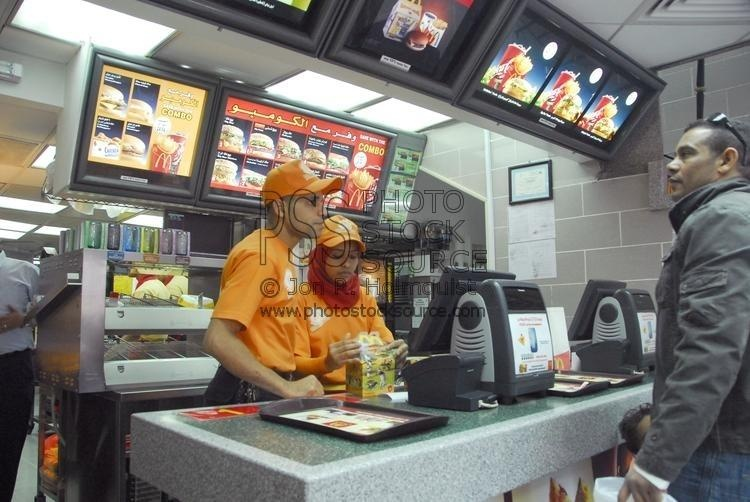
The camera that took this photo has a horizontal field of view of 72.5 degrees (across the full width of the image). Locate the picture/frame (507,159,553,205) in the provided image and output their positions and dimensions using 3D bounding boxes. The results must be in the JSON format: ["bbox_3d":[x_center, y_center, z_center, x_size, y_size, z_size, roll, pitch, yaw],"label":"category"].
[{"bbox_3d":[1.481,-0.641,4.803,0.463,0.392,0.049,-3,-6,38],"label":"picture/frame"}]

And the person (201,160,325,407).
[{"bbox_3d":[-0.465,0.142,2.252,0.555,1.116,0.381,3,-6,-3],"label":"person"}]

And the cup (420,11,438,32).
[{"bbox_3d":[0.315,-1.350,3.019,0.097,0.086,0.146,7,-39,-4],"label":"cup"}]

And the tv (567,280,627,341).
[{"bbox_3d":[1.512,0.406,3.431,0.254,0.420,0.483,6,1,43],"label":"tv"}]

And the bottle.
[{"bbox_3d":[-1.770,-0.063,3.751,0.737,0.240,0.177,7,-7,-41],"label":"bottle"}]

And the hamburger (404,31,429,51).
[{"bbox_3d":[0.257,-1.257,3.064,0.137,0.089,0.083,7,-7,-40],"label":"hamburger"}]

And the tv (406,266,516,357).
[{"bbox_3d":[0.371,0.285,2.344,0.411,0.412,0.265,1,-6,11],"label":"tv"}]

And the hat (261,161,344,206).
[{"bbox_3d":[-0.339,-0.297,2.359,0.316,0.153,0.195,-8,9,2],"label":"hat"}]
